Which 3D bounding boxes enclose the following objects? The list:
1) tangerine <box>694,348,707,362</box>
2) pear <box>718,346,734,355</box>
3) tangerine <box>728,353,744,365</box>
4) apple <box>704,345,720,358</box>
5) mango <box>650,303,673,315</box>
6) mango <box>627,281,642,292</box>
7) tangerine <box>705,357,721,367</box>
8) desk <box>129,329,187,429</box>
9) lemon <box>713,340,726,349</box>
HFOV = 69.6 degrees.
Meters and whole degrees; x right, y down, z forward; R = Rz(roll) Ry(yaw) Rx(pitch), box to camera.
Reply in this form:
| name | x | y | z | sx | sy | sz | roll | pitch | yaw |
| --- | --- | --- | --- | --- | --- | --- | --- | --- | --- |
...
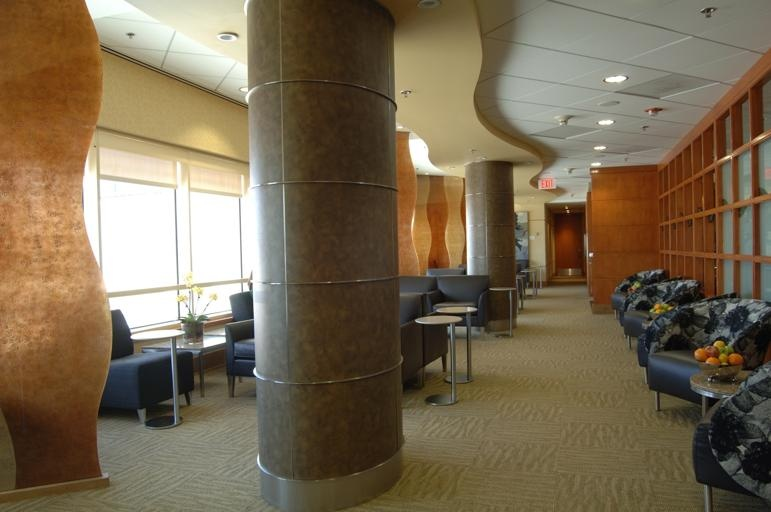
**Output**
| name | x | y | z | sx | sy | sz | roll | pitch | yaw |
| --- | --- | --- | --- | --- | --- | --- | --- | --- | --- |
| tangerine | 2.840 | 0.902 | 5.077 | 0.128 | 0.139 | 0.125 | -4 | -1 | 13 |
| pear | 3.044 | 0.853 | 4.972 | 0.088 | 0.045 | 0.063 | 4 | -5 | -37 |
| tangerine | 3.065 | 0.899 | 4.883 | 0.111 | 0.098 | 0.105 | -5 | 0 | 9 |
| apple | 2.922 | 0.862 | 4.968 | 0.090 | 0.089 | 0.097 | 3 | -3 | 29 |
| mango | 3.581 | 0.685 | 7.204 | 0.198 | 0.094 | 0.181 | -11 | 3 | -29 |
| mango | 4.403 | 0.550 | 9.850 | 0.263 | 0.140 | 0.265 | -14 | -12 | 28 |
| tangerine | 2.871 | 0.932 | 4.874 | 0.083 | 0.076 | 0.081 | -9 | 8 | -40 |
| desk | -2.535 | 1.391 | 6.240 | 0.668 | 0.989 | 0.652 | -3 | -3 | -40 |
| lemon | 3.030 | 0.808 | 5.050 | 0.109 | 0.066 | 0.128 | 3 | 2 | 22 |
